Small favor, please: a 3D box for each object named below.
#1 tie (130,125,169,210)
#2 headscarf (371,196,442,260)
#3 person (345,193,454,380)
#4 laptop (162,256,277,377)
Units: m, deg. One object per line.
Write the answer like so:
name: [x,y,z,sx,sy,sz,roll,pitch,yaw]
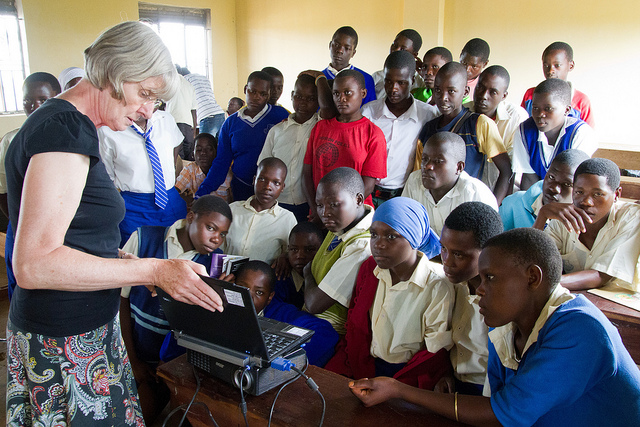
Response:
tie: [-1.040,-0.297,3.020,0.165,0.513,0.020,-16,19,-19]
headscarf: [0.474,0.095,2.453,0.430,0.350,0.188,-7,16,-34]
person: [0.394,0.387,2.397,0.588,0.893,0.565,4,3,28]
laptop: [-0.364,0.335,1.931,0.435,0.378,0.347,8,29,20]
